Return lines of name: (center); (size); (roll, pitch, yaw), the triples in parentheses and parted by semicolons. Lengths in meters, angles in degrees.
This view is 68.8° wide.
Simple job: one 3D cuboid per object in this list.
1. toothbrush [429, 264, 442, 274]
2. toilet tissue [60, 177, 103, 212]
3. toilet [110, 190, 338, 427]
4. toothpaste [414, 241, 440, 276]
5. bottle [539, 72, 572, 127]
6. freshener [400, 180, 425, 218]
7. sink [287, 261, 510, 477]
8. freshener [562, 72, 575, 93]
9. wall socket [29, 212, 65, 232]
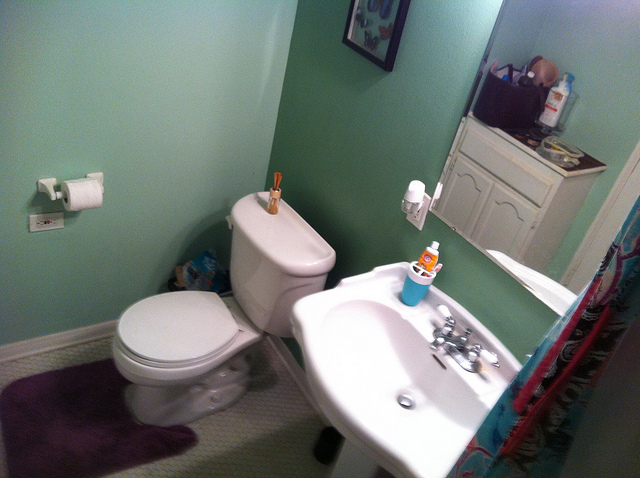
toothbrush: (0.410, 0.107, 1.657); (0.011, 0.039, 0.027); (47, -3, -7)
toilet tissue: (-1.010, -0.168, 1.988); (0.162, 0.150, 0.126); (-5, 40, -38)
toilet: (-0.443, 0.308, 2.067); (0.793, 0.860, 0.544); (-13, 50, -33)
toothpaste: (0.380, 0.082, 1.650); (0.057, 0.047, 0.143); (21, 76, 15)
bottle: (0.673, -0.398, 1.328); (0.035, 0.136, 0.052); (-20, 40, -39)
freshener: (0.341, -0.145, 1.682); (0.091, 0.130, 0.066); (2, 31, -11)
sink: (0.245, 0.390, 1.485); (0.573, 0.212, 0.647); (-11, 37, -30)
freshener: (0.694, -0.439, 1.306); (0.013, 0.045, 0.042); (-2, 32, -17)
wall socket: (-1.158, -0.073, 1.986); (0.133, 0.077, 0.006); (-11, 35, -30)
